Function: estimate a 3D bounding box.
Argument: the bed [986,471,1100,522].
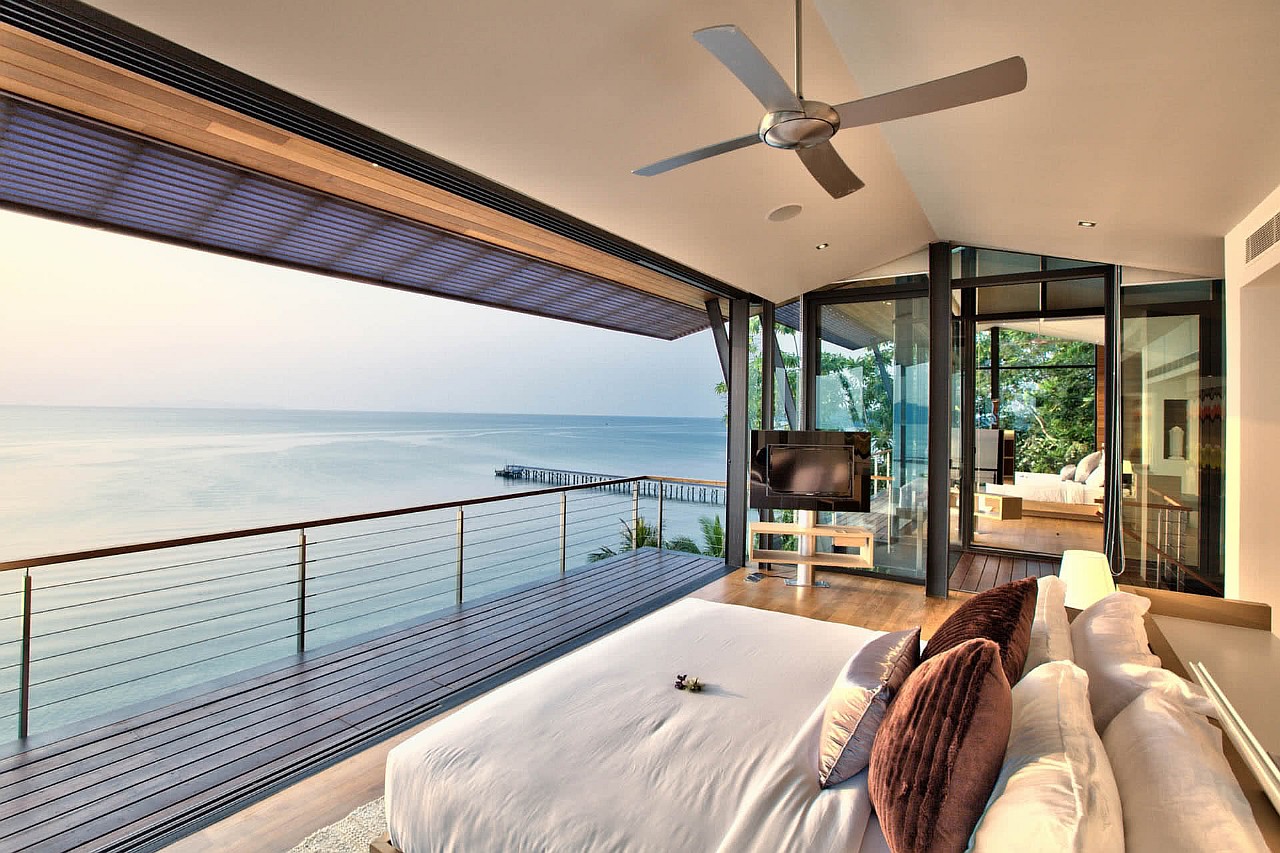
[{"bbox_3d":[5.584,0.954,10.090,1.304,0.577,1.350,1,0,23],"label":"bed"}]

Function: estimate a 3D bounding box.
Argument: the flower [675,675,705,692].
[{"bbox_3d":[0.243,1.287,3.678,0.095,0.036,0.075,-1,-2,44],"label":"flower"}]

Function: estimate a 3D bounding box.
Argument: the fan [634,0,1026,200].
[{"bbox_3d":[0.934,-1.815,3.648,1.518,0.917,1.033,1,-1,-10],"label":"fan"}]

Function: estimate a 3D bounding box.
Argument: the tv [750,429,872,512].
[{"bbox_3d":[1.646,0.412,6.889,0.984,0.539,0.126,1,-4,15],"label":"tv"}]
